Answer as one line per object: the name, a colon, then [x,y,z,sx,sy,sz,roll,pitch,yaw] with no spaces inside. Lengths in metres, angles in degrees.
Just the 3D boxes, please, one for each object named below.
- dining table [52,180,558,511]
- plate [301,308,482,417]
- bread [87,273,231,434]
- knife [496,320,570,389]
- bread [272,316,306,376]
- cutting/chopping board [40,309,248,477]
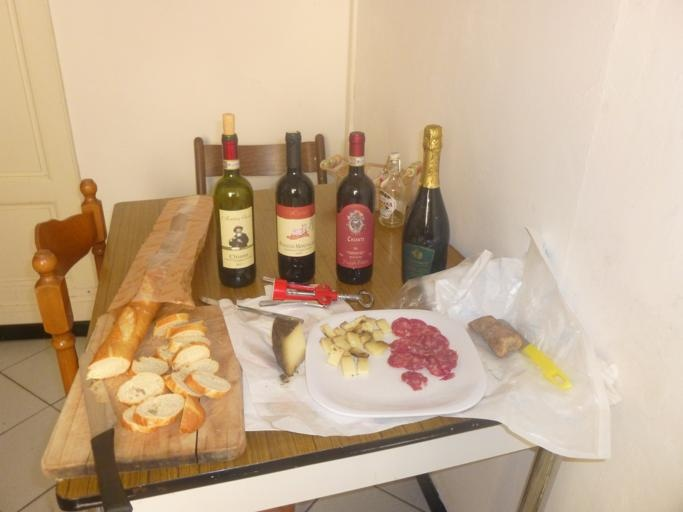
dining table: [-0.095,0.396,1.285,0.932,0.604,0.880,-6,46,-11]
plate: [0.100,0.161,0.813,0.206,0.032,0.182,-1,41,-2]
bread: [-0.330,0.162,0.909,0.209,0.053,0.377,1,30,-27]
knife: [0.358,0.176,0.932,0.038,0.007,0.159,-26,28,-4]
bread: [-0.096,0.160,0.928,0.048,0.023,0.097,6,48,-5]
cutting/chopping board: [-0.359,0.211,0.908,0.429,0.042,0.333,46,9,33]
